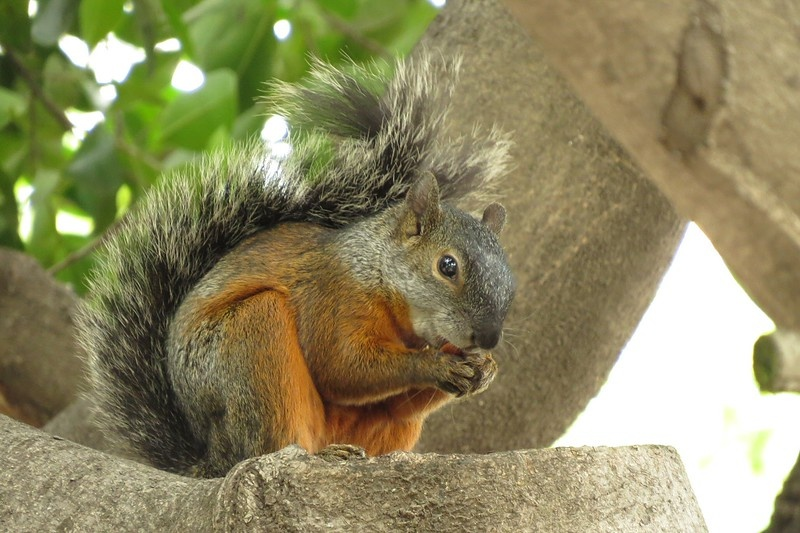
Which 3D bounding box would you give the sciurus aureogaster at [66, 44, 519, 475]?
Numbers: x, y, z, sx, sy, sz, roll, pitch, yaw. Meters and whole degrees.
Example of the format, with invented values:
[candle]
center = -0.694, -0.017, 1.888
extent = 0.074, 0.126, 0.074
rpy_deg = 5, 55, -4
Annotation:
[sciurus aureogaster]
center = -0.485, -0.076, 4.796
extent = 1.819, 2.572, 0.911
rpy_deg = -7, -10, 9
